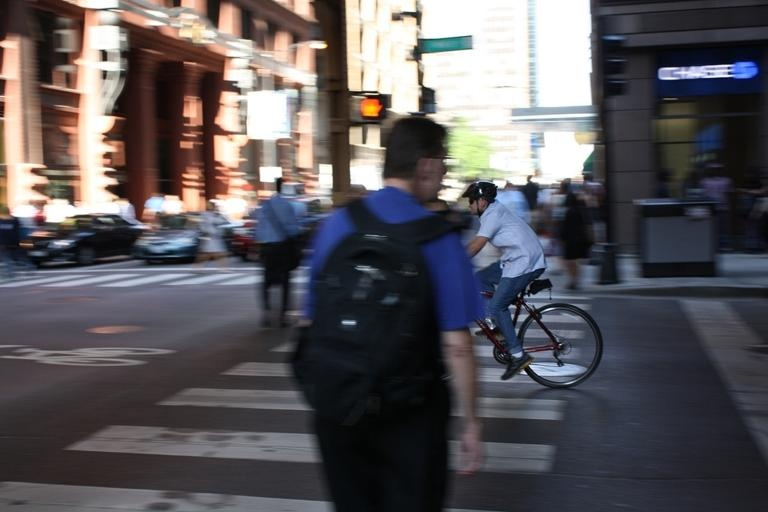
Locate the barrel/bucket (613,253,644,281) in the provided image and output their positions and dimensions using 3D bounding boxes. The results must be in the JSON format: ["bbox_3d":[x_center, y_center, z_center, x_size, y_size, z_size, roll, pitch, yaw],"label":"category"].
[{"bbox_3d":[5.554,0.244,18.940,0.804,0.579,0.703,-1,-3,0],"label":"barrel/bucket"}]

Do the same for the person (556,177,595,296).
[{"bbox_3d":[3.775,-0.334,16.290,0.661,1.937,0.972,0,7,13],"label":"person"}]

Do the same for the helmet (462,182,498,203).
[{"bbox_3d":[1.030,-0.702,8.919,0.358,0.146,0.212,1,3,9],"label":"helmet"}]

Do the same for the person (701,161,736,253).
[{"bbox_3d":[8.760,-1.308,21.749,0.921,2.332,0.417,-6,9,-35],"label":"person"}]
